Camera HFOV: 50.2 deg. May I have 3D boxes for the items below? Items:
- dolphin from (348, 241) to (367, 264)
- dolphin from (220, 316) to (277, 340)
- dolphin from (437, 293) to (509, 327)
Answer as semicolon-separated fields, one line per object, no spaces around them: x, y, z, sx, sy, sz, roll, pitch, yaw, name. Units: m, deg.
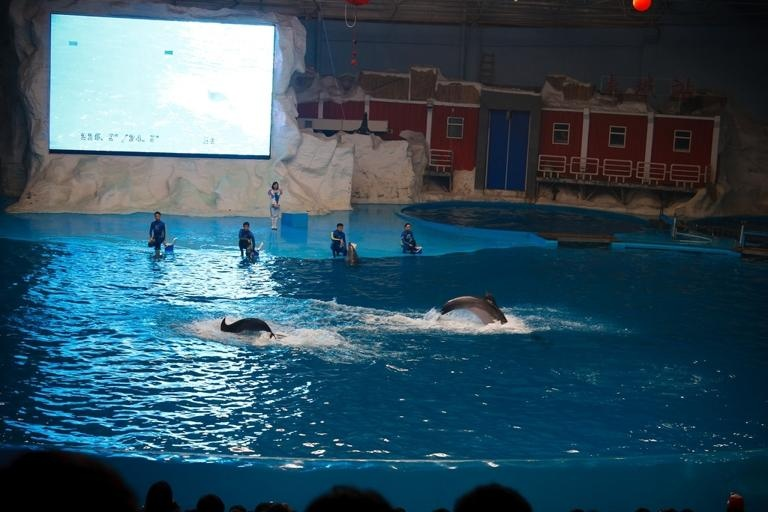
-0.714;-0.076;20.303;0.277;0.493;0.588;5;5;28;dolphin
-2.577;1.363;15.521;1.146;0.479;0.379;-1;2;7;dolphin
1.853;1.045;16.567;1.407;0.583;0.376;2;4;-11;dolphin
